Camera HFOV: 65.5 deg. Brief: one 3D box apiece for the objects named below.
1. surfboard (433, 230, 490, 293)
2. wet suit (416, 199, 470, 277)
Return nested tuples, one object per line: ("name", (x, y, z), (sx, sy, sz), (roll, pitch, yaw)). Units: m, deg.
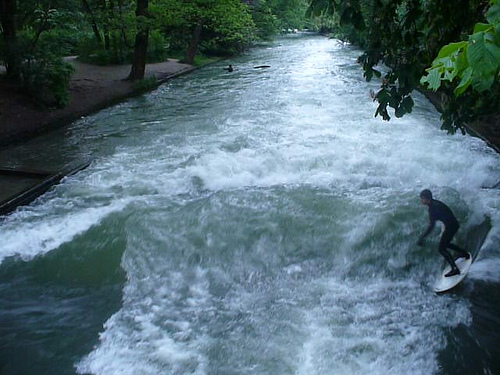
("surfboard", (3.685, 1.323, 6.771), (1.515, 0.180, 0.289), (-42, 15, -35))
("wet suit", (3.506, 0.972, 7.075), (0.788, 1.424, 0.765), (-39, 25, -29))
